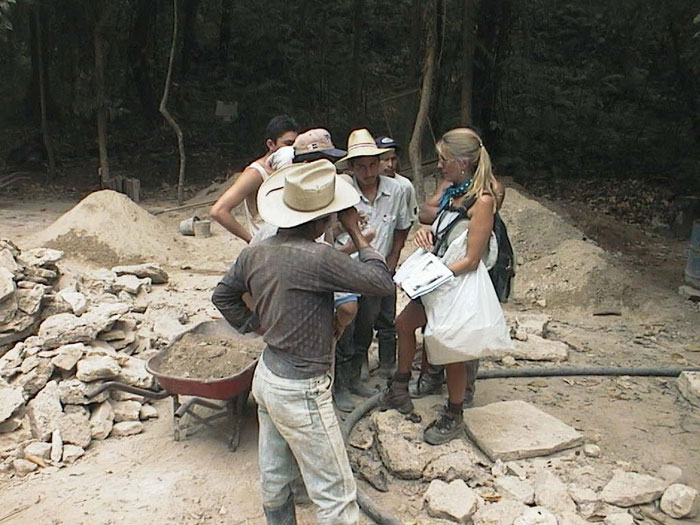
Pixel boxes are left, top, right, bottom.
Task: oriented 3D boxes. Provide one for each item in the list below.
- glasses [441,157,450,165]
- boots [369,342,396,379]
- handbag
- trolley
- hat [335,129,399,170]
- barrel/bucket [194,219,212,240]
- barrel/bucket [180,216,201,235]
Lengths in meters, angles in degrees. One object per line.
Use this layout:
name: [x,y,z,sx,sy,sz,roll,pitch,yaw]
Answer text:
glasses: [0.949,-1.033,7.859,0.069,0.062,0.078,0,3,3]
boots: [0.405,1.144,9.035,0.379,0.242,0.466,9,59,-17]
handbag: [0.960,0.398,7.898,0.792,1.085,0.538,-21,53,-30]
trolley: [-1.705,1.634,8.511,1.061,1.117,1.958,11,40,23]
hat: [0.117,-1.303,8.448,0.588,0.307,0.587,-4,8,19]
barrel/bucket: [-2.750,-0.640,14.688,0.315,0.327,0.338,3,5,0]
barrel/bucket: [-3.039,-0.710,14.807,0.268,0.349,0.327,-2,65,-2]
